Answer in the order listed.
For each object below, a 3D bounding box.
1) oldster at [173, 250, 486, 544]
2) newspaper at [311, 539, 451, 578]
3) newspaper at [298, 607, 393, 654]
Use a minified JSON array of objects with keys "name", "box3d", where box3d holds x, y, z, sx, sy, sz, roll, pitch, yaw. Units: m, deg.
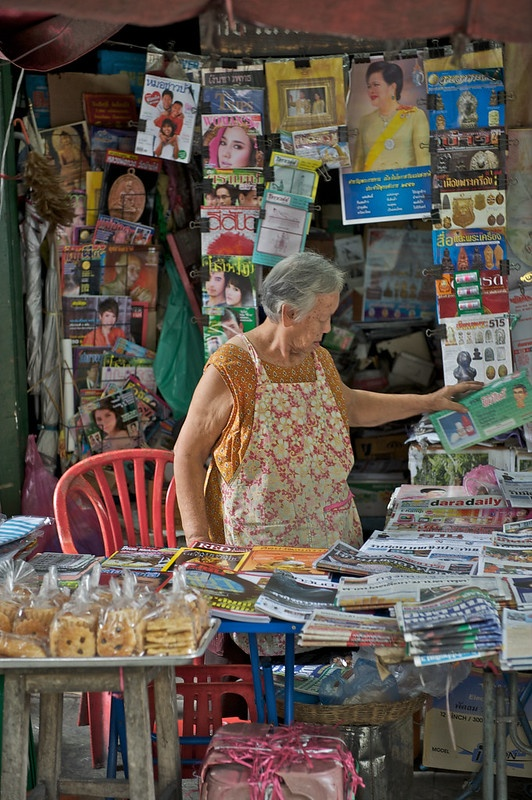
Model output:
[{"name":"oldster","box3d":[0.189,0.065,2.649,0.795,1.483,1.086,4,8,40]},{"name":"newspaper","box3d":[0.279,0.398,1.677,0.347,0.023,0.222,0,5,35]},{"name":"newspaper","box3d":[0.160,0.455,1.331,0.192,0.062,0.139,-2,4,-2]}]
